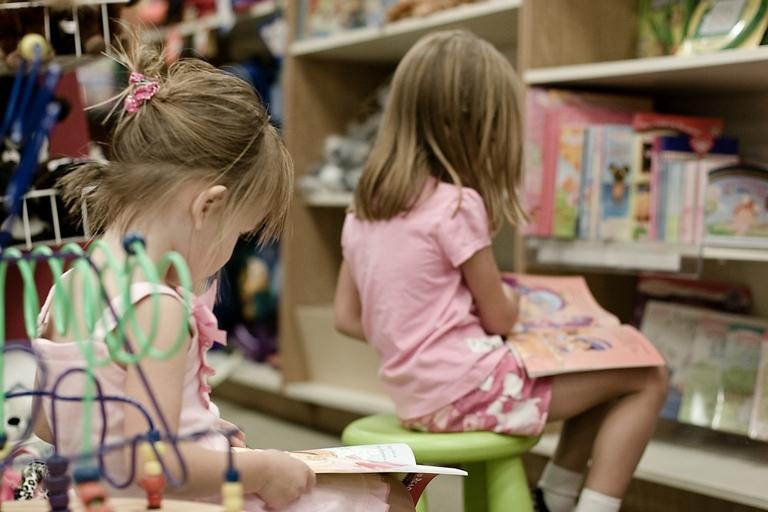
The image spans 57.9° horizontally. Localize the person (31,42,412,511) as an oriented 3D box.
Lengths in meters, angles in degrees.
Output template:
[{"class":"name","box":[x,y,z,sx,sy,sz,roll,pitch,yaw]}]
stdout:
[{"class":"person","box":[-0.285,0.047,1.163,0.654,0.806,0.522,2,11,0]}]
